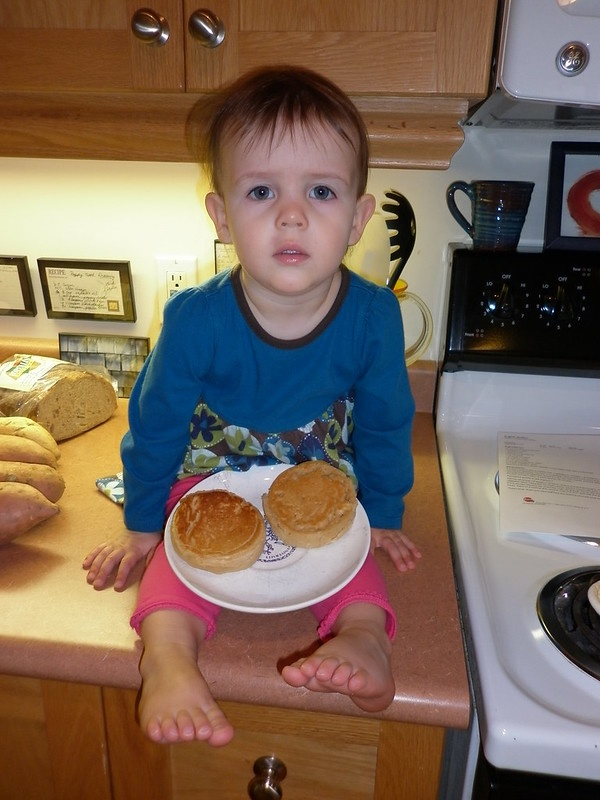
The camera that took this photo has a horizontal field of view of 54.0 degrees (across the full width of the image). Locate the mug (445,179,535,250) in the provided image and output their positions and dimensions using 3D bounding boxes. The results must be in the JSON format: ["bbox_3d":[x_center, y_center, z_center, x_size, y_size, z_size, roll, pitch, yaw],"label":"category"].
[{"bbox_3d":[0.318,-0.310,0.986,0.140,0.104,0.109,1,22,4],"label":"mug"}]

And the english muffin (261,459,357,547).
[{"bbox_3d":[0.013,0.128,0.749,0.103,0.026,0.097,0,48,9],"label":"english muffin"}]
